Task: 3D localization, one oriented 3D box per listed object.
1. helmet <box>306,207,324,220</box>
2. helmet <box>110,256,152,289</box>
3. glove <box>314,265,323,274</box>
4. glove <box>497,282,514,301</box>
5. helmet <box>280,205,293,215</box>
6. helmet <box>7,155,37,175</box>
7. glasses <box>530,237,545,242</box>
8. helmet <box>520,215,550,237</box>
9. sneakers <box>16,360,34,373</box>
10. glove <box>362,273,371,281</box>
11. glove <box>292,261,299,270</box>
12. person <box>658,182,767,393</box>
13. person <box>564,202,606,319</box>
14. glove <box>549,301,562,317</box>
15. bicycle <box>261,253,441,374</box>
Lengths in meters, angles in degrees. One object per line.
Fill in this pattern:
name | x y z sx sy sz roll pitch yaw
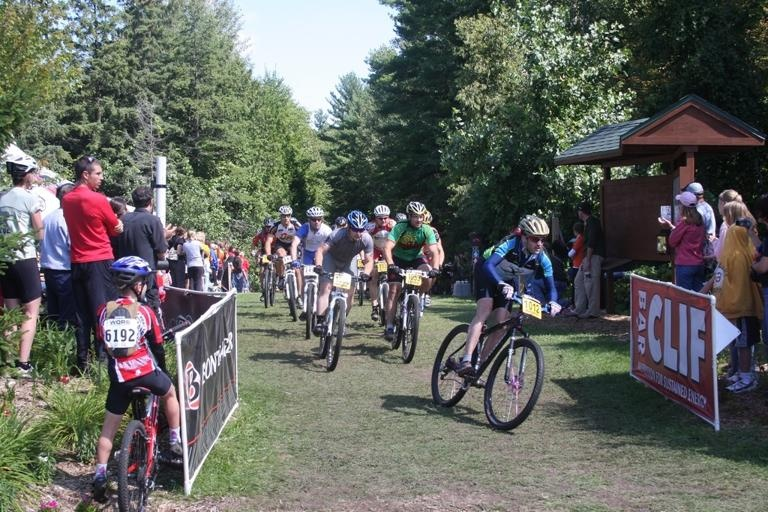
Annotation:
helmet | -1.464 -0.937 16.215 0.279 0.160 0.405 4 1 -12
helmet | -2.930 0.184 8.906 0.391 0.451 0.546 6 2 22
glove | -1.161 0.215 13.509 0.121 0.123 0.124 19 2 -25
glove | 1.672 0.462 10.560 0.080 0.223 0.161 -14 -13 -30
helmet | -2.617 -1.198 20.302 0.340 0.181 0.556 4 17 -14
helmet | -5.020 -1.283 10.655 0.228 0.222 0.343 10 7 30
glasses | 2.134 -0.251 10.660 0.207 0.080 0.185 -2 8 -8
helmet | 2.070 -0.434 10.684 0.386 0.272 0.413 1 8 10
sneakers | -4.852 1.484 10.375 0.192 0.176 0.157 -5 8 -30
glove | -0.321 0.346 13.776 0.105 0.156 0.135 0 6 19
glove | -1.999 0.188 17.457 0.145 0.113 0.143 -4 11 -38
person | 5.225 0.570 11.455 0.760 2.764 1.448 1 7 14
person | 4.942 0.079 18.646 0.739 2.719 1.080 0 7 7
glove | 2.360 0.709 10.459 0.074 0.185 0.173 37 -21 -24
bicycle | -0.429 0.992 13.982 1.274 1.588 2.461 8 -6 -23
